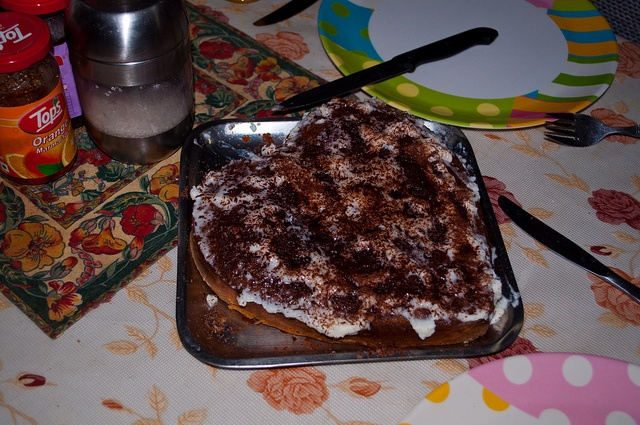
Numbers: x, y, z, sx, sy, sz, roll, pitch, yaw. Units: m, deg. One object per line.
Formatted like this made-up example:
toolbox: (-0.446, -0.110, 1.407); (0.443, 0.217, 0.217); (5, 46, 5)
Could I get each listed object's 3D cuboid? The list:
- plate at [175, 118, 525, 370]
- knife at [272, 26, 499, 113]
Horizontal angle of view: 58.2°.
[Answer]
plate: (0.066, 0.051, 1.856); (1.040, 0.178, 0.870); (1, 56, -9)
knife: (0.271, -0.516, 2.110); (0.806, 0.043, 0.118); (-22, 60, -13)
